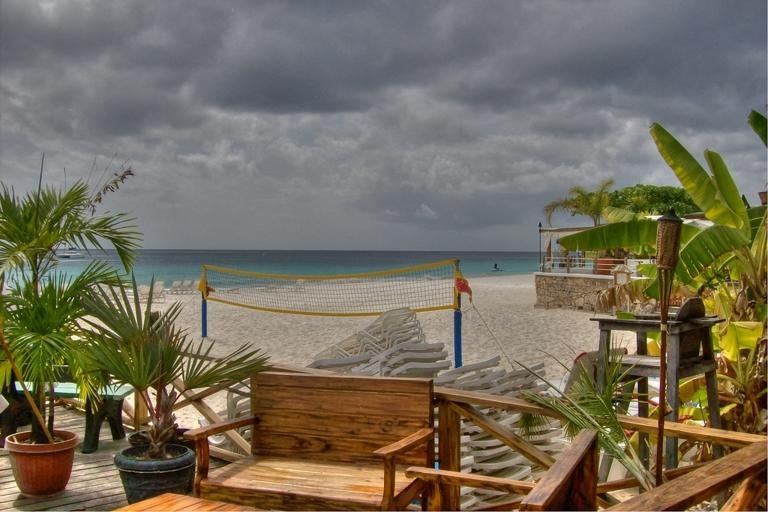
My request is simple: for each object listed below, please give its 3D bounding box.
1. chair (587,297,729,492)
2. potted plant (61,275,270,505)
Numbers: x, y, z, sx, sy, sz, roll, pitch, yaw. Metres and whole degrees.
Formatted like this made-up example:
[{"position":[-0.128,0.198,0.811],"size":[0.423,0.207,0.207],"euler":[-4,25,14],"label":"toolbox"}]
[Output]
[{"position":[2.628,1.241,5.573],"size":[0.894,1.753,1.467],"euler":[1,-5,39],"label":"chair"},{"position":[-1.772,1.161,5.406],"size":[1.694,1.945,1.881],"euler":[11,-17,-32],"label":"potted plant"}]
